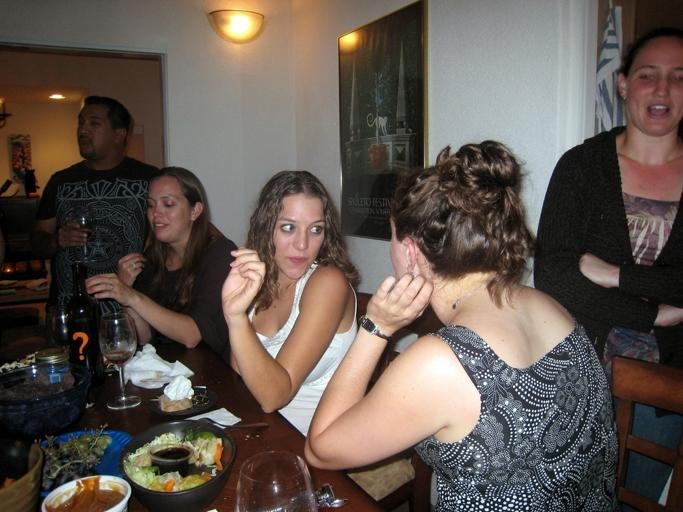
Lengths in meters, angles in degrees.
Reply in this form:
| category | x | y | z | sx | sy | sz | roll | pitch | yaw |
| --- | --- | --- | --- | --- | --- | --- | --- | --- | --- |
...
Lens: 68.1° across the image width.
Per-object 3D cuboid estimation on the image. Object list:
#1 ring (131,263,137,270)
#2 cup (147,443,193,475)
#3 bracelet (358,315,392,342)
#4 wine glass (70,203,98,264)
| category | x | y | z | sx | sy | sz | roll | pitch | yaw |
| --- | --- | --- | --- | --- | --- | --- | --- | --- | --- |
| ring | -1.027 | 0.050 | 2.511 | 0.029 | 0.030 | 0.009 | 0 | -2 | -35 |
| cup | -0.443 | 0.528 | 1.315 | 0.068 | 0.053 | 0.072 | -1 | -2 | 0 |
| bracelet | 0.097 | 0.211 | 1.456 | 0.032 | 0.056 | 0.054 | -48 | 36 | -8 |
| wine glass | -1.386 | -0.107 | 2.734 | 0.127 | 0.321 | 0.111 | 3 | 23 | -9 |
